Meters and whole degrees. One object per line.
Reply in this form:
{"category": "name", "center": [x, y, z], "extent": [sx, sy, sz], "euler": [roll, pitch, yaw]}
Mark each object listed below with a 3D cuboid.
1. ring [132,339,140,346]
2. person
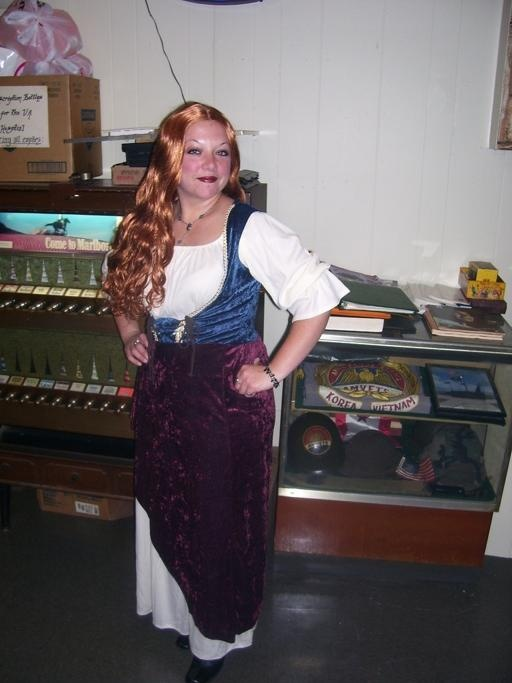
{"category": "ring", "center": [-0.322, 0.003, 1.506], "extent": [0.015, 0.006, 0.020], "euler": [5, 43, 39]}
{"category": "person", "center": [-0.129, 0.178, 1.504], "extent": [0.344, 1.509, 0.579], "euler": [-14, 24, -41]}
